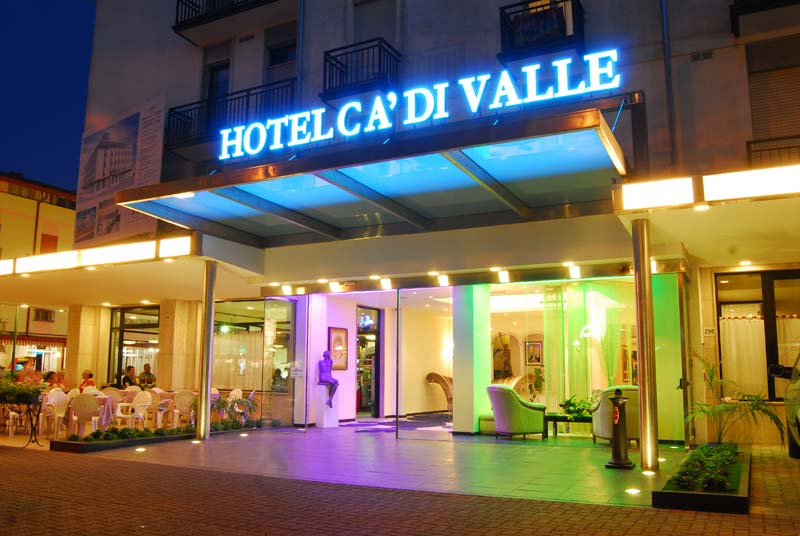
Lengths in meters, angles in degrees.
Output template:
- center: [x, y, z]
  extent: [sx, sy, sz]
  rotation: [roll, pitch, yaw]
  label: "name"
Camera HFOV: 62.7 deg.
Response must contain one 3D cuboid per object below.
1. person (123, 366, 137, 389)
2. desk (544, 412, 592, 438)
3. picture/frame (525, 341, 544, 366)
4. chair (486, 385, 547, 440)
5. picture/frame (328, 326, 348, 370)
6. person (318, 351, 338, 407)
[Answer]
- center: [-8.245, 3.306, 19.943]
  extent: [0.405, 0.667, 1.241]
  rotation: [3, -11, -24]
  label: "person"
- center: [3.769, 3.501, 14.637]
  extent: [1.000, 0.522, 0.812]
  rotation: [-4, -10, 15]
  label: "desk"
- center: [3.255, 2.076, 15.996]
  extent: [0.538, 0.644, 0.401]
  rotation: [-7, -12, 31]
  label: "picture/frame"
- center: [2.544, 3.194, 14.707]
  extent: [1.217, 1.116, 1.078]
  rotation: [6, -9, -40]
  label: "chair"
- center: [-1.670, 2.155, 17.413]
  extent: [0.129, 1.276, 1.137]
  rotation: [-3, -5, 26]
  label: "picture/frame"
- center: [-1.852, 2.856, 16.839]
  extent: [0.330, 1.419, 0.666]
  rotation: [-7, -11, 29]
  label: "person"
